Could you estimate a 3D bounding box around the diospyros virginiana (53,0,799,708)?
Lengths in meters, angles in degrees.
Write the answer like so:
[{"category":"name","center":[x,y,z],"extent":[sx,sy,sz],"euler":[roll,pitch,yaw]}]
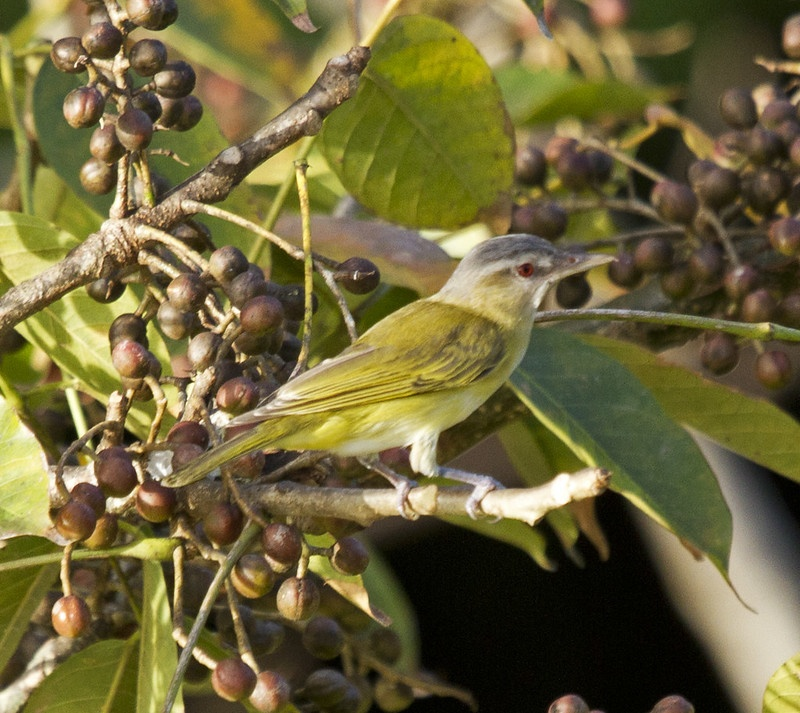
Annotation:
[{"category":"diospyros virginiana","center":[-0.121,0.047,3.005],"extent":[1.982,1.747,1.152],"euler":[1,93,5]}]
